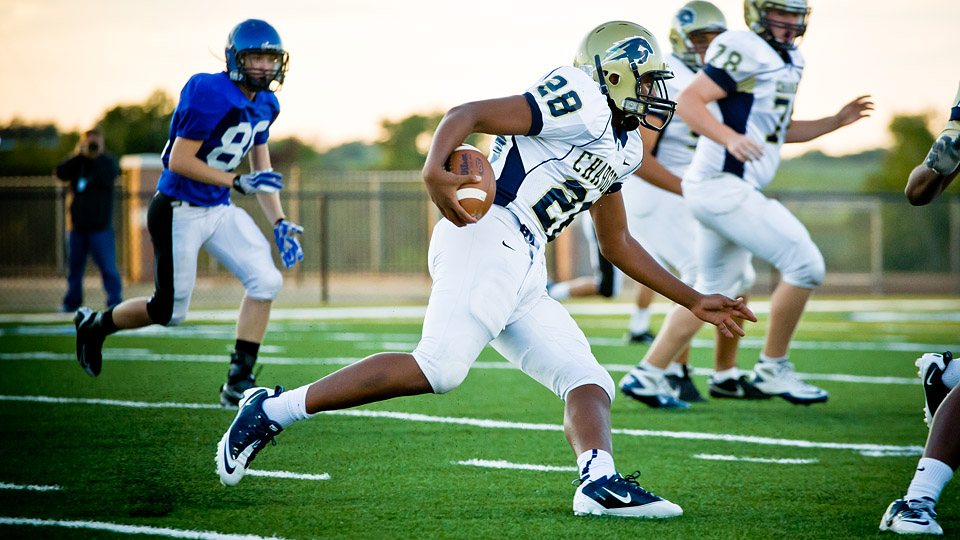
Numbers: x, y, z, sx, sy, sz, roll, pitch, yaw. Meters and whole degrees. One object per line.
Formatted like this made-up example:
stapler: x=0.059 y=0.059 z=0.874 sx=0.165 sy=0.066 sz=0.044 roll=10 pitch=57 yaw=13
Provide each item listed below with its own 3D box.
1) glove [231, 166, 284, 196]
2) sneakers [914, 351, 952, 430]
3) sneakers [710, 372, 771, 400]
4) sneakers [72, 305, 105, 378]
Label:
glove: x=-1.695 y=-0.674 z=7.156 sx=0.286 sy=0.112 sz=0.227 roll=-2 pitch=2 yaw=-37
sneakers: x=2.836 y=0.757 z=5.926 sx=0.186 sy=0.512 sz=0.235 roll=2 pitch=10 yaw=32
sneakers: x=2.188 y=0.986 z=7.984 sx=0.548 sy=0.214 sz=0.193 roll=1 pitch=2 yaw=15
sneakers: x=-3.107 y=0.558 z=7.627 sx=0.213 sy=0.588 sz=0.278 roll=-5 pitch=0 yaw=13
